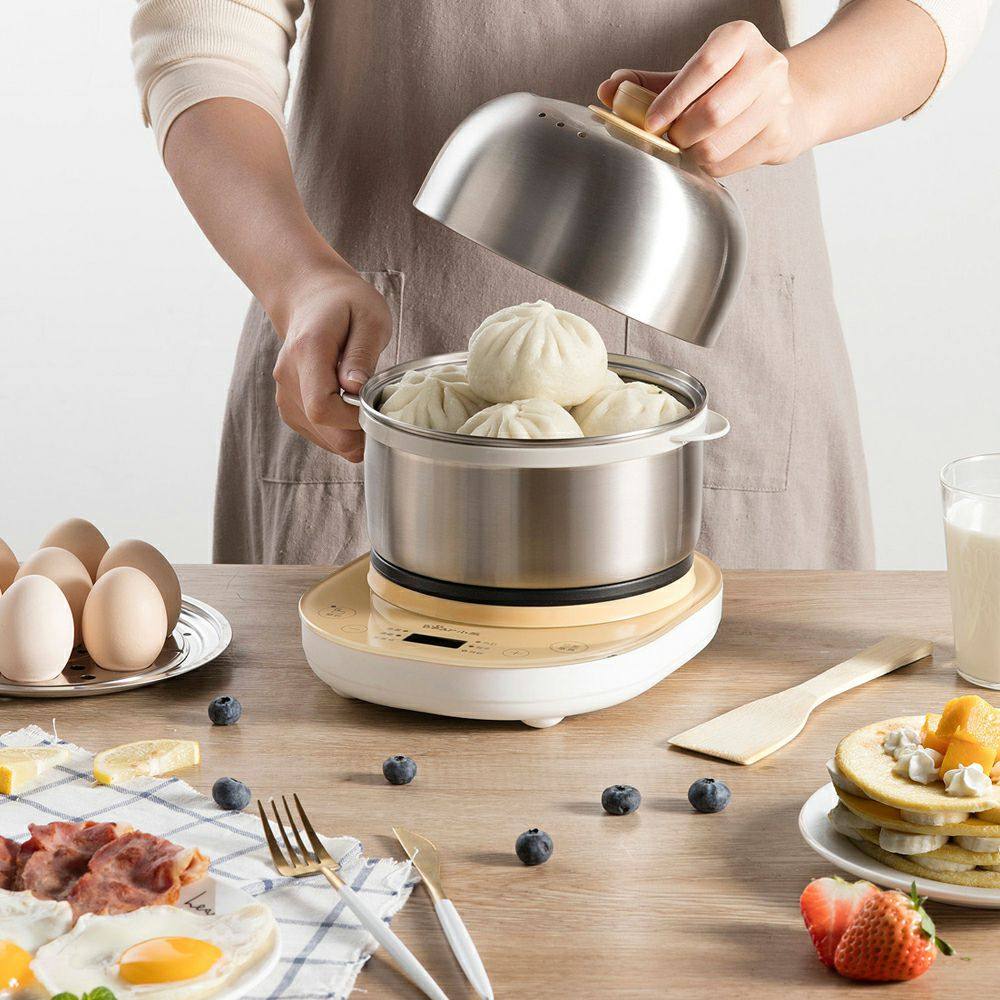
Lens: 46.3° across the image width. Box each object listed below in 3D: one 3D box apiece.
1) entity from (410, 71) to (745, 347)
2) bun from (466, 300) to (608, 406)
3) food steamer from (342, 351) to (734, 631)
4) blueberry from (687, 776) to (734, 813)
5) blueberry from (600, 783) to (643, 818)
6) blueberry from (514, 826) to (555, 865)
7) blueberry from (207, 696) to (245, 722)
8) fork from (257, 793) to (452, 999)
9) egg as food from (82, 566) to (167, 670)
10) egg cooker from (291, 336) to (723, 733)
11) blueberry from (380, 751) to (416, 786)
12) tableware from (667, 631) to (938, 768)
[{"bbox_3d":[0.076,-0.188,0.871,0.236,0.108,0.209,25,8,5],"label":"entity"},{"bbox_3d":[0.032,-0.119,0.970,0.125,0.058,0.101,1,5,1],"label":"bun"},{"bbox_3d":[0.031,-0.005,0.926,0.322,0.105,0.218,0,5,4],"label":"food steamer"},{"bbox_3d":[0.145,0.201,0.800,0.031,0.018,0.025,0,0,-3],"label":"blueberry"},{"bbox_3d":[0.083,0.205,0.804,0.025,0.012,0.023,-11,13,-39],"label":"blueberry"},{"bbox_3d":[0.023,0.218,0.741,0.026,0.018,0.023,-1,2,19],"label":"blueberry"},{"bbox_3d":[-0.217,0.166,0.933,0.027,0.012,0.023,1,0,9],"label":"blueberry"},{"bbox_3d":[-0.085,0.236,0.686,0.024,0.014,0.141,-19,36,-38],"label":"fork"},{"bbox_3d":[-0.326,0.105,1.023,0.055,0.089,0.061,-1,3,28],"label":"egg as food"},{"bbox_3d":[0.057,0.014,1.035,0.364,0.177,0.354,7,14,29],"label":"egg cooker"},{"bbox_3d":[-0.075,0.195,0.842,0.025,0.012,0.021,0,2,-2],"label":"blueberry"},{"bbox_3d":[0.259,0.148,0.966,0.077,0.008,0.298,10,16,43],"label":"tableware"}]
